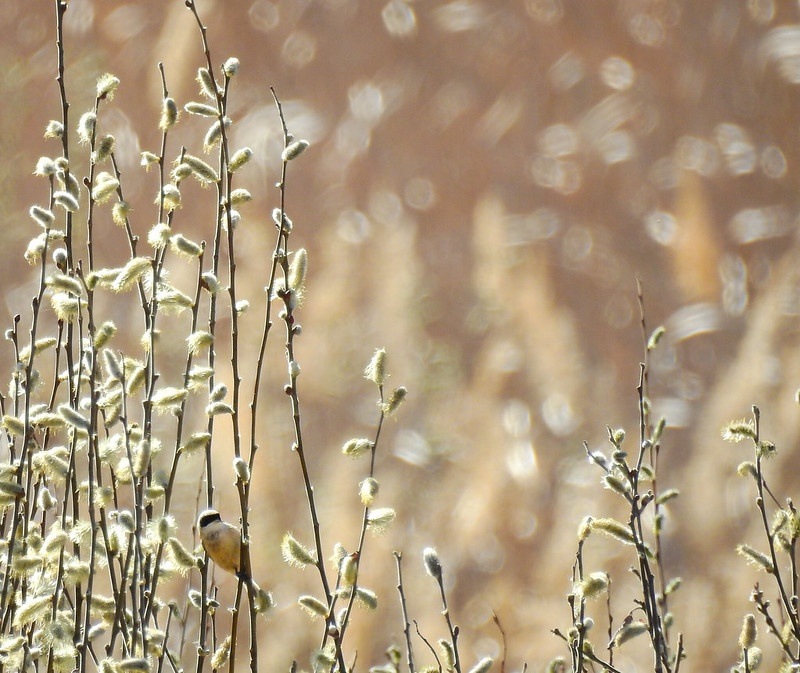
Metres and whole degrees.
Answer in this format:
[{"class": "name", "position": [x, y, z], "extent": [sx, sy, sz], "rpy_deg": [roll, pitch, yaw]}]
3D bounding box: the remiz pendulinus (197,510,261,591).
[{"class": "remiz pendulinus", "position": [-0.207, 0.248, 2.024], "extent": [0.039, 0.128, 0.049], "rpy_deg": [-34, 21, -21]}]
